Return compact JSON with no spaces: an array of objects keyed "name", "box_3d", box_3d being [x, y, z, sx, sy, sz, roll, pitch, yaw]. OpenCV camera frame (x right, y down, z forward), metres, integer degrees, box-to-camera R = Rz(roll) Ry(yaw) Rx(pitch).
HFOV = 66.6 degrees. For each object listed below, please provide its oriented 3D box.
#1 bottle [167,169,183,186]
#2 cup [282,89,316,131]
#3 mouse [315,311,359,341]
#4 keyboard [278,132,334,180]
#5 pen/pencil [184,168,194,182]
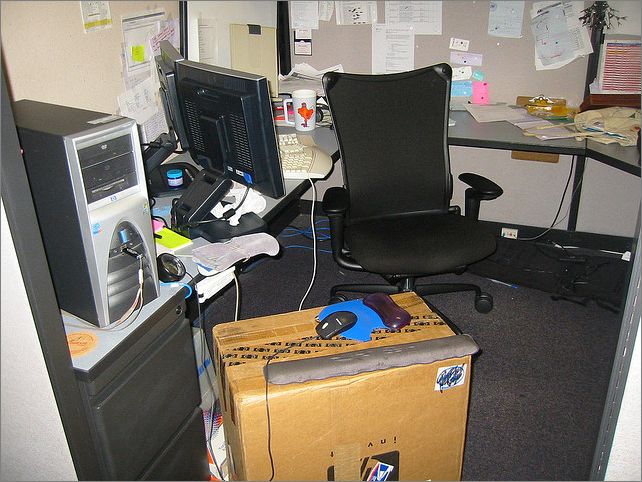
[{"name":"bottle","box_3d":[-0.557,-0.242,1.864,0.061,0.057,0.061,-5,34,-11]},{"name":"cup","box_3d":[-0.061,-0.681,2.493,0.238,0.216,0.159,2,32,7]},{"name":"mouse","box_3d":[0.049,0.252,1.499,0.123,0.041,0.066,-28,57,-5]},{"name":"keyboard","box_3d":[-0.059,-0.341,2.049,0.210,0.044,0.302,0,40,2]},{"name":"pen/pencil","box_3d":[-0.521,-0.265,1.940,0.025,0.025,0.097,-22,23,-8]}]
